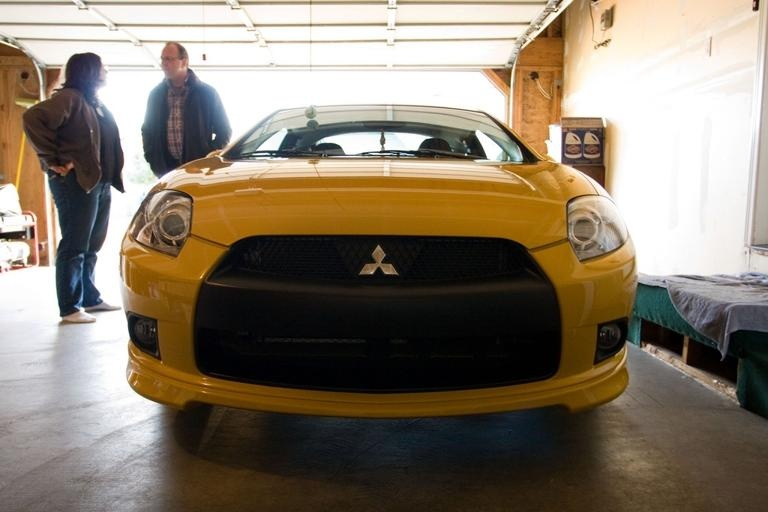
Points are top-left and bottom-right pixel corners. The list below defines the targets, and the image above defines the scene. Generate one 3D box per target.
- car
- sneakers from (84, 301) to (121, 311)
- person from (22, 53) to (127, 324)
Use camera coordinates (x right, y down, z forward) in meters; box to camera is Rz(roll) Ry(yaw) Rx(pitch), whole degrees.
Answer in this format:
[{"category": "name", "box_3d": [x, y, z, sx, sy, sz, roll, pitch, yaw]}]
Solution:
[{"category": "car", "box_3d": [0.011, -0.284, 3.810, 2.415, 1.602, 3.810, 1, 8, 4]}, {"category": "sneakers", "box_3d": [-2.297, 0.420, 4.279, 0.246, 0.096, 0.088, -2, 6, -27]}, {"category": "person", "box_3d": [-2.262, -0.506, 3.924, 0.468, 1.984, 0.557, -2, 10, -5]}]
